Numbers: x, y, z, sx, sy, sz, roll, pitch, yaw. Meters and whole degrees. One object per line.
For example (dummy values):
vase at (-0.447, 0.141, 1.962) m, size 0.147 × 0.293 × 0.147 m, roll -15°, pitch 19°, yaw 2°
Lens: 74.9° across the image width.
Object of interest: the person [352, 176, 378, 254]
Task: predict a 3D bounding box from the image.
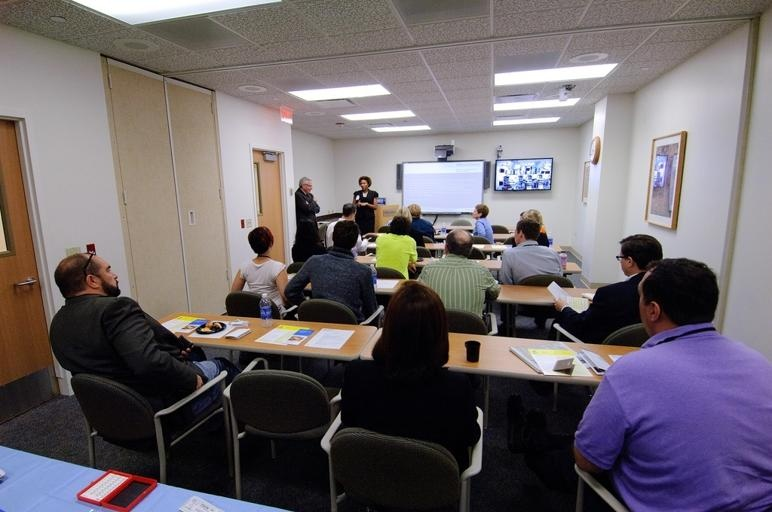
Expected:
person at (-0.400, -0.699, 9.055) m, size 0.507 × 1.373 × 0.429 m, roll 9°, pitch 22°, yaw 24°

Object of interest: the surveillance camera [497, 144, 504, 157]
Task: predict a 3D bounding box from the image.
surveillance camera at (2.389, -2.203, 10.668) m, size 0.143 × 0.225 × 0.169 m, roll 7°, pitch 11°, yaw 17°

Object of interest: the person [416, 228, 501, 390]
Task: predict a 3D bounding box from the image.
person at (0.647, 0.303, 4.413) m, size 0.798 × 1.309 × 0.756 m, roll 5°, pitch 26°, yaw 12°

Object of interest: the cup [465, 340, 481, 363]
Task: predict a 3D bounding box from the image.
cup at (0.623, 0.695, 3.658) m, size 0.131 × 0.125 × 0.146 m, roll 2°, pitch 2°, yaw 6°

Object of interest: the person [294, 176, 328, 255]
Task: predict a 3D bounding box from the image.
person at (-0.927, -0.357, 5.862) m, size 0.321 × 1.034 × 0.383 m, roll 8°, pitch 16°, yaw 24°

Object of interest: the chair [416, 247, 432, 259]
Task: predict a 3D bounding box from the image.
chair at (0.491, -0.034, 6.742) m, size 0.167 × 0.203 × 0.162 m, roll 1°, pitch -3°, yaw -6°

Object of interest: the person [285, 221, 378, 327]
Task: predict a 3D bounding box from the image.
person at (-0.455, 0.324, 4.850) m, size 1.022 × 1.281 × 0.699 m, roll 5°, pitch 25°, yaw -1°

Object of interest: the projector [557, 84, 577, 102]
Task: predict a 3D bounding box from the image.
projector at (2.455, -2.230, 6.932) m, size 0.153 × 0.058 × 0.247 m, roll 1°, pitch -4°, yaw 9°
